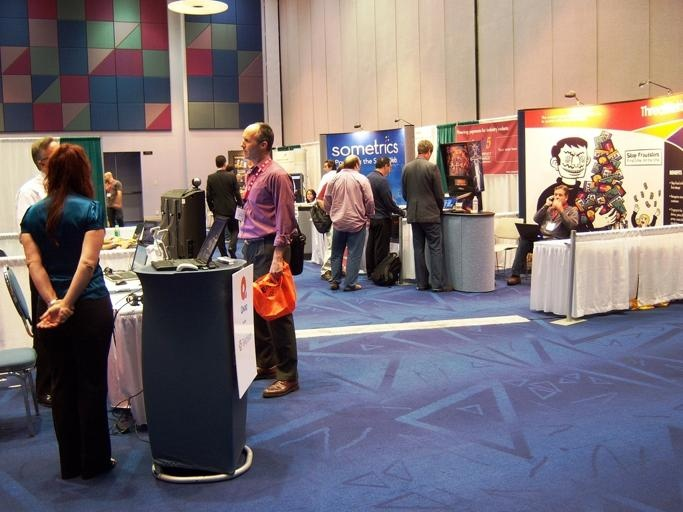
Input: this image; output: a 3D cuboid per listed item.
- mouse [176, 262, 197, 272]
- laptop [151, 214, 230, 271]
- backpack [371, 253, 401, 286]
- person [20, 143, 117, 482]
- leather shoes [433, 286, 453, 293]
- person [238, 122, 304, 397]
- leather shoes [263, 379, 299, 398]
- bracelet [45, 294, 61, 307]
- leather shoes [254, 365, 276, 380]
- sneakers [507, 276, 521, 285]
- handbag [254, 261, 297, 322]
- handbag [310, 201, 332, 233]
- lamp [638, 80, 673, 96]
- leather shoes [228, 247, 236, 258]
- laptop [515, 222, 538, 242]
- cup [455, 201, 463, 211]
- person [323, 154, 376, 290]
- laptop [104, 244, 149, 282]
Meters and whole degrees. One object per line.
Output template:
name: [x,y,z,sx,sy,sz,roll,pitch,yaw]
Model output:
mouse: [-0.831,0.053,2.986,0.096,0.035,0.058,-4,8,-23]
laptop: [-0.847,-0.032,3.131,0.307,0.230,0.352,1,1,-14]
backpack: [0.624,0.201,7.823,0.281,0.198,0.372,-26,28,46]
person: [-1.511,0.317,3.127,0.423,1.841,0.337,-6,10,-27]
leather shoes: [1.307,0.444,7.313,0.254,0.123,0.090,-5,4,-11]
person: [-0.531,0.034,4.068,0.416,1.963,0.592,-3,9,-11]
leather shoes: [-0.464,0.979,4.141,0.235,0.116,0.100,4,-7,-42]
bracelet: [-1.555,0.249,3.006,0.067,0.076,0.077,-9,-4,-26]
leather shoes: [-0.581,0.925,4.435,0.257,0.119,0.088,12,-12,-37]
sneakers: [2.309,0.345,7.539,0.078,0.107,0.236,-5,-8,38]
handbag: [-0.475,0.239,3.873,0.324,0.479,0.230,-4,11,-8]
handbag: [-0.314,-0.578,8.352,0.242,0.357,0.459,-22,59,-15]
lamp: [4.002,-2.155,7.162,0.107,0.206,0.504,-6,11,-25]
leather shoes: [-1.776,-0.048,8.933,0.048,0.169,0.112,-4,36,-4]
laptop: [2.404,-0.304,7.233,0.214,0.176,0.241,-7,6,-42]
cup: [1.527,-0.649,7.346,0.054,0.100,0.094,6,2,11]
person: [0.080,-0.423,7.528,0.664,1.773,0.381,-1,9,3]
laptop: [-1.707,0.068,4.398,0.229,0.229,0.348,6,9,-30]
